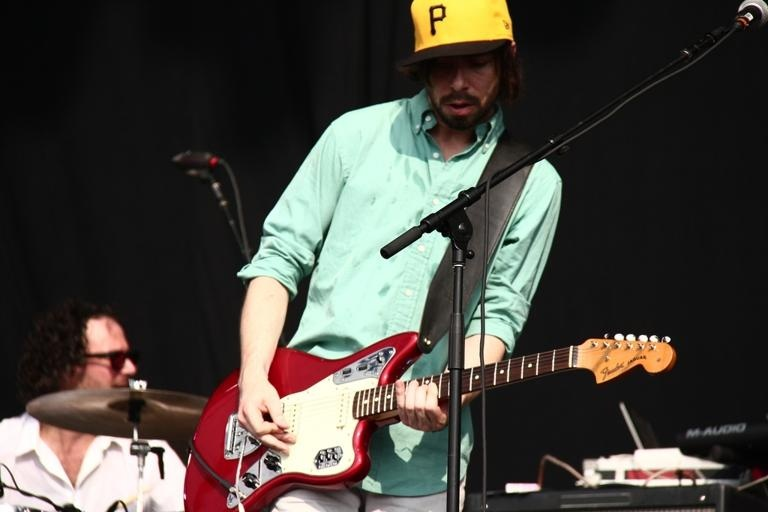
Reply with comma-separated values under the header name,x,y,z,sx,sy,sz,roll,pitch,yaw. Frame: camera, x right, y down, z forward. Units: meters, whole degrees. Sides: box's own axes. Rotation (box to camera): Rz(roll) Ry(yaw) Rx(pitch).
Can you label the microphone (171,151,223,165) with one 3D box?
name,x,y,z,sx,sy,sz,roll,pitch,yaw
microphone,-0.952,-0.482,5.441,0.238,0.080,0.120,2,-12,-2
